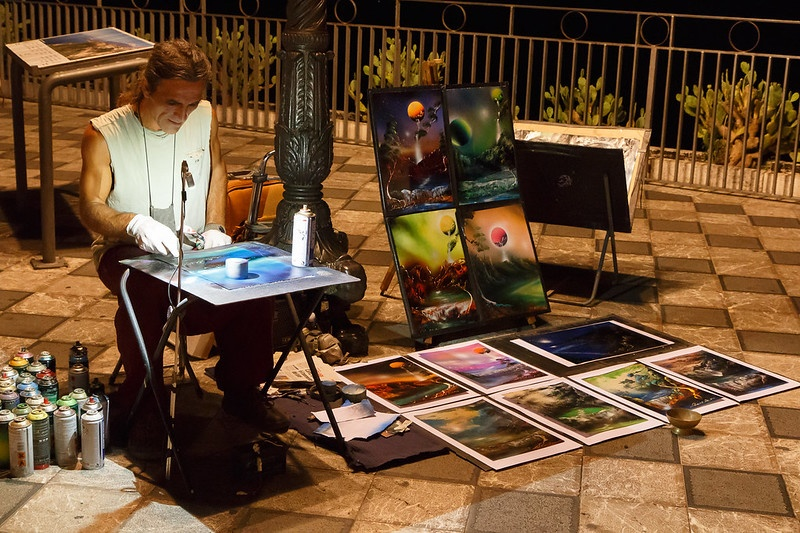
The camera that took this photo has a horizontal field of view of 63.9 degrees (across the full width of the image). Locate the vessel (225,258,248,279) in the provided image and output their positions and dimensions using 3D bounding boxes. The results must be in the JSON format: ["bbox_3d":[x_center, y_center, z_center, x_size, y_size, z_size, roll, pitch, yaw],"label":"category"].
[{"bbox_3d":[-0.788,0.012,3.118,0.109,0.069,0.101,-3,15,-21],"label":"vessel"}]

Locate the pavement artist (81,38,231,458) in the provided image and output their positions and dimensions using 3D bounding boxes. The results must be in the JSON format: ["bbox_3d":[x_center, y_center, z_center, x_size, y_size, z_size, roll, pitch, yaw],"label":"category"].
[{"bbox_3d":[-1.378,-0.156,3.833,0.975,2.087,1.313,-6,21,-38],"label":"pavement artist"}]

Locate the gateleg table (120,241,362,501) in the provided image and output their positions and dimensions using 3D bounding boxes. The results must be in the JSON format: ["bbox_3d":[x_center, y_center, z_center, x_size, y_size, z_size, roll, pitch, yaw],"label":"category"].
[{"bbox_3d":[-0.807,0.416,3.630,1.341,1.106,1.347,-9,22,-30],"label":"gateleg table"}]

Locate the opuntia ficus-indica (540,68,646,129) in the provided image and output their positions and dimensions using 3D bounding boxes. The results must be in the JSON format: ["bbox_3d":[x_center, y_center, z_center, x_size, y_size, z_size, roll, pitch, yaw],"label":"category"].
[{"bbox_3d":[2.931,-2.580,9.790,1.408,0.843,1.741,4,17,11],"label":"opuntia ficus-indica"}]
